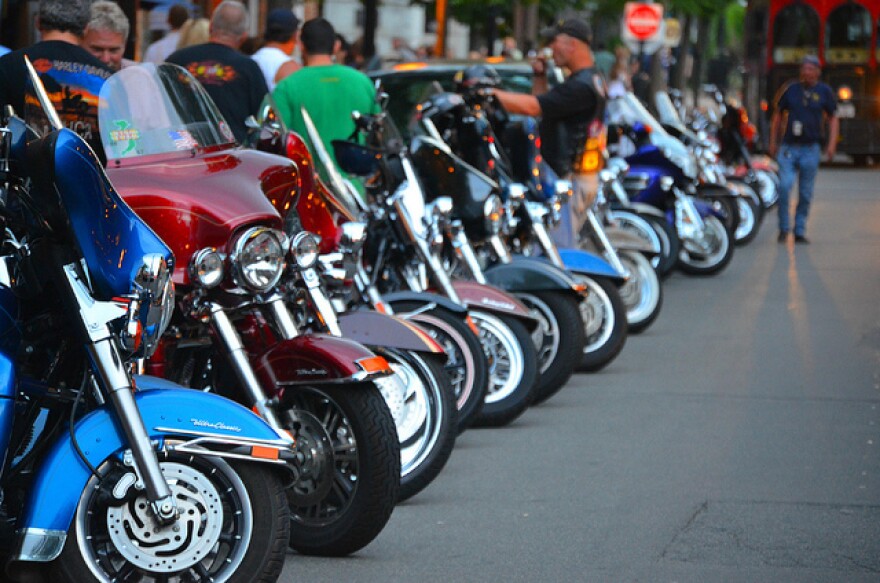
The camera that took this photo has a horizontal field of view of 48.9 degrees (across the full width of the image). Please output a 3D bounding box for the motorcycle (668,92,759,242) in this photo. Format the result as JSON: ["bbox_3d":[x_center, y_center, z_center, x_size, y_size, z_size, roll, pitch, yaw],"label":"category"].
[{"bbox_3d":[4.079,-1.758,13.858,1.229,1.769,2.359,0,5,-9],"label":"motorcycle"}]

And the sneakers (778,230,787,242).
[{"bbox_3d":[5.022,-0.813,14.234,0.112,0.153,0.272,3,12,18],"label":"sneakers"}]

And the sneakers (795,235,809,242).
[{"bbox_3d":[5.220,-0.758,14.001,0.210,0.106,0.201,5,13,26],"label":"sneakers"}]

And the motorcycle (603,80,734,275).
[{"bbox_3d":[2.786,-1.384,12.009,2.086,1.707,1.276,7,13,12],"label":"motorcycle"}]

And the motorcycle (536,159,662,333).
[{"bbox_3d":[1.711,-0.263,8.881,1.540,1.298,0.939,-1,5,17],"label":"motorcycle"}]

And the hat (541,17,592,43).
[{"bbox_3d":[1.106,-2.255,8.300,0.304,0.196,0.228,15,9,-2],"label":"hat"}]
